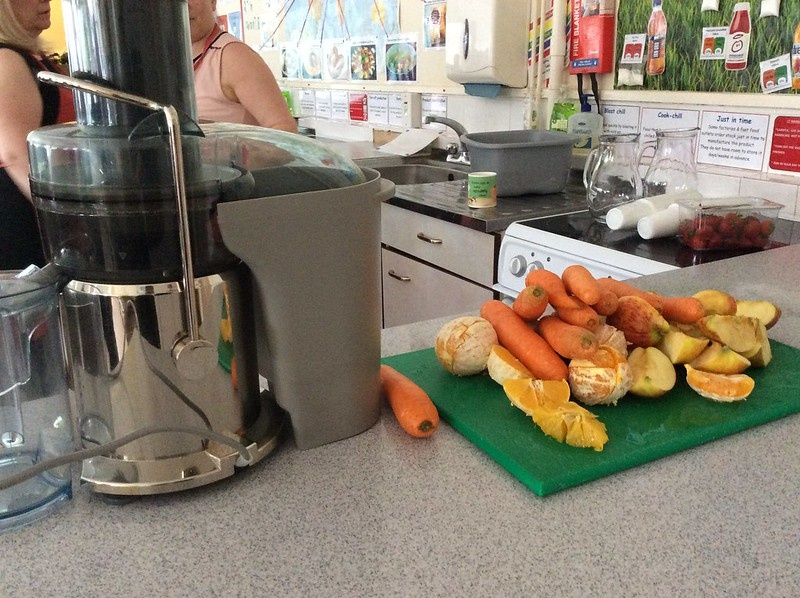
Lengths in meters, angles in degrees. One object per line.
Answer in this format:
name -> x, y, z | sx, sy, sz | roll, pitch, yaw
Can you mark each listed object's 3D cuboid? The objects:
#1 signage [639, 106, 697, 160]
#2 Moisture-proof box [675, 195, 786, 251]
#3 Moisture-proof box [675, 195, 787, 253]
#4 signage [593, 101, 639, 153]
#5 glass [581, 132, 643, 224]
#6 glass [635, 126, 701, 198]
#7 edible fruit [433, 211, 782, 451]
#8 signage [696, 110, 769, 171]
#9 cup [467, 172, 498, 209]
signage -> 0.892, -0.557, 2.007 | 0.009, 0.176, 0.237 | -12, 21, -26
Moisture-proof box -> 0.887, -0.190, 1.623 | 0.205, 0.105, 0.151 | -3, 21, 0
Moisture-proof box -> 0.885, -0.220, 1.626 | 0.207, 0.107, 0.151 | -3, 21, -3
signage -> 0.773, -0.614, 2.153 | 0.026, 0.170, 0.250 | -15, 27, -19
glass -> 0.693, -0.396, 1.987 | 0.213, 0.289, 0.172 | 13, 21, 44
glass -> 0.824, -0.427, 1.947 | 0.229, 0.234, 0.160 | 10, 27, 26
edible fruit -> 0.272, 0.043, 0.824 | 0.311, 0.118, 0.279 | -2, 17, 13
signage -> 1.072, -0.513, 1.939 | 0.008, 0.155, 0.199 | -15, 22, -31
cup -> 0.275, -0.380, 2.115 | 0.104, 0.120, 0.114 | -1, 23, 0
